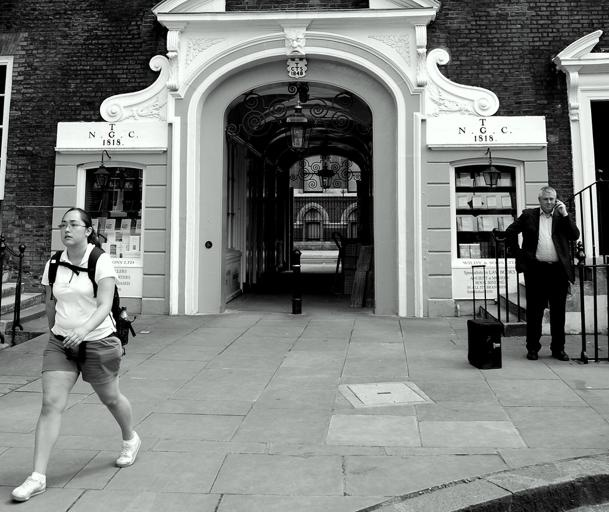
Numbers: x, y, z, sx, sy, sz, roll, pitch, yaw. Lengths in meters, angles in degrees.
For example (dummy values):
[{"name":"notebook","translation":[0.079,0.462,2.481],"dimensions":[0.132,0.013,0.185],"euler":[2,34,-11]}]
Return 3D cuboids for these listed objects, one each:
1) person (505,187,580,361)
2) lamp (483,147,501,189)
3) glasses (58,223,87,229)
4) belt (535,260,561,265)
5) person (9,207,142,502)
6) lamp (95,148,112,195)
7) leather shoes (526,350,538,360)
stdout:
[{"name":"person","translation":[2.983,0.205,7.835],"dimensions":[0.813,2.067,0.772],"euler":[0,0,10]},{"name":"lamp","translation":[3.450,-1.631,11.472],"dimensions":[0.274,0.700,0.480],"euler":[1,4,32]},{"name":"glasses","translation":[-1.680,-0.217,4.448],"dimensions":[0.187,0.040,0.093],"euler":[0,4,14]},{"name":"belt","translation":[2.948,0.081,7.487],"dimensions":[0.241,0.050,0.058],"euler":[1,4,25]},{"name":"person","translation":[-1.635,0.631,4.464],"dimensions":[0.866,1.940,0.536],"euler":[-3,4,-31]},{"name":"lamp","translation":[-3.901,-1.645,11.977],"dimensions":[0.258,0.776,0.501],"euler":[-2,4,-23]},{"name":"leather shoes","translation":[2.833,1.252,7.679],"dimensions":[0.086,0.093,0.146],"euler":[1,-8,-3]}]
